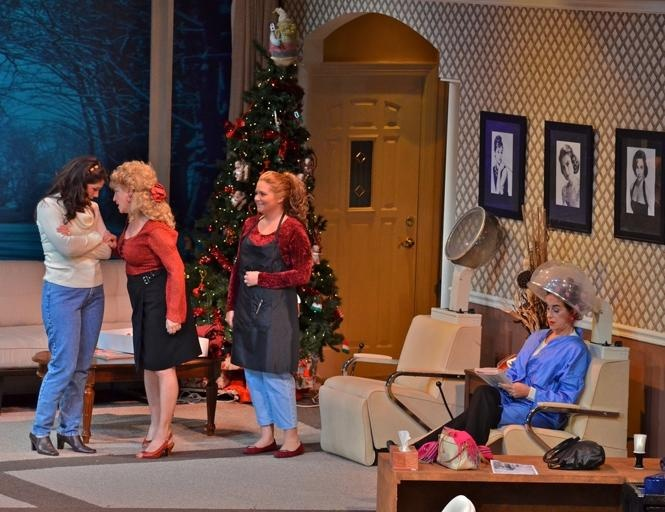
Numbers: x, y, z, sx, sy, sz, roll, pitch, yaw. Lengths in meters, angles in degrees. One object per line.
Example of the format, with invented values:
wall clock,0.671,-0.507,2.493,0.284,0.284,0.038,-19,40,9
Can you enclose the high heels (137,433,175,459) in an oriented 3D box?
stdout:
high heels,-1.124,1.260,5.032,0.280,0.155,0.096,4,-4,-21

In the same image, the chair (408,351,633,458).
chair,1.350,0.929,4.581,0.617,0.683,0.648,4,-8,-6

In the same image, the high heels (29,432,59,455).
high heels,-1.882,1.206,4.966,0.274,0.127,0.095,0,-4,43

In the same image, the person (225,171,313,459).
person,-0.430,0.397,5.077,0.525,1.868,0.358,1,3,-9

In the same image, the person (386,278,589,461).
person,0.987,0.723,4.622,1.048,1.220,0.608,5,6,-20

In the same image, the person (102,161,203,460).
person,-1.147,0.354,4.949,0.553,1.881,0.308,2,3,16

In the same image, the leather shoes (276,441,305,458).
leather shoes,-0.282,1.294,5.107,0.152,0.065,0.082,5,-8,-18

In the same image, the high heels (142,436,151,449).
high heels,-1.252,1.259,5.195,0.045,0.049,0.132,2,-12,-6

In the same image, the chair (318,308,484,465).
chair,0.523,0.916,5.415,1.081,1.154,0.842,5,-6,-28

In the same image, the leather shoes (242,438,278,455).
leather shoes,-0.476,1.284,5.169,0.176,0.077,0.089,5,-7,-19

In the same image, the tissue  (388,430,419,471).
tissue ,0.335,0.927,3.669,0.133,0.199,0.195,1,-1,-1

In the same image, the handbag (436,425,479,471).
handbag,0.596,0.915,3.669,0.177,0.182,0.235,4,-2,-38

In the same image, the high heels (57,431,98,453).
high heels,-1.667,1.218,5.050,0.312,0.142,0.111,2,-4,12

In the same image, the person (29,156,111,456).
person,-1.645,0.335,4.915,0.499,1.911,0.353,0,3,-23
